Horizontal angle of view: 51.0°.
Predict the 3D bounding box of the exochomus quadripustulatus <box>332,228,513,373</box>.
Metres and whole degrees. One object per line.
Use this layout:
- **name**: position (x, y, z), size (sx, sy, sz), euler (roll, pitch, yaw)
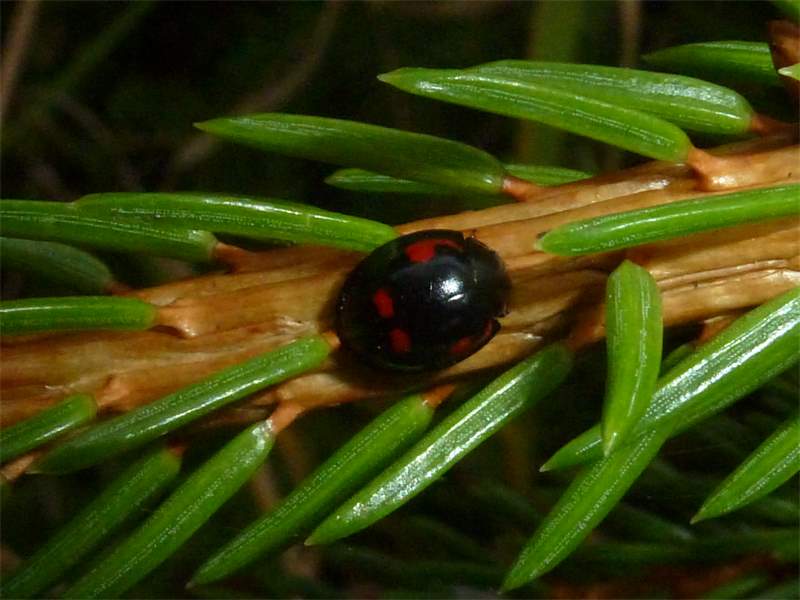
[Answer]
- **exochomus quadripustulatus**: position (0.029, 0.002, 0.783), size (0.123, 0.124, 0.156), euler (38, 55, 25)
